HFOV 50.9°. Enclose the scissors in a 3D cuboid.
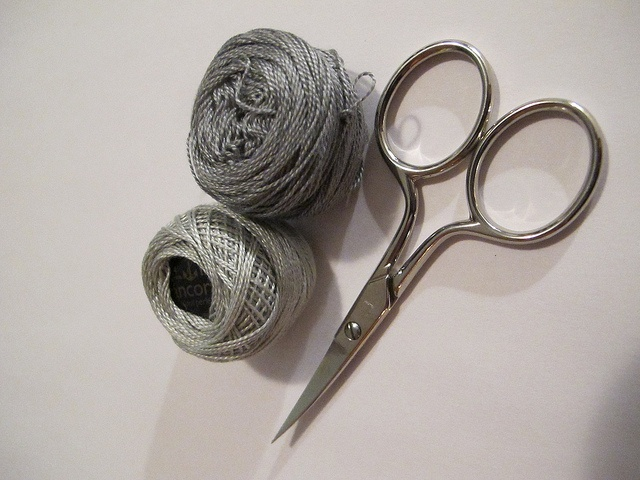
[{"bbox_3d":[0.123,-0.007,0.986,0.303,0.194,0.613,40,-72,-19],"label":"scissors"}]
